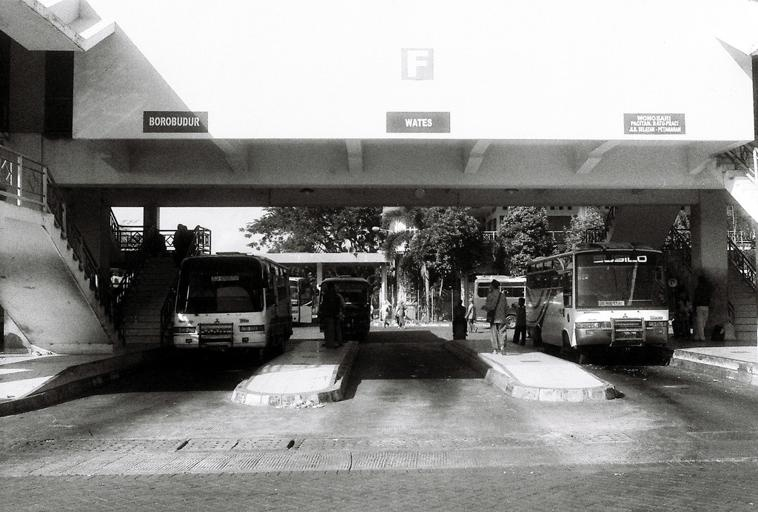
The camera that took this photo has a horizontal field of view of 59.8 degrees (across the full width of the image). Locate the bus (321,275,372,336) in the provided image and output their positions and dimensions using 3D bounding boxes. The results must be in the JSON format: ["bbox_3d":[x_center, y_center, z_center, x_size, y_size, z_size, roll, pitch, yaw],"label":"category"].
[{"bbox_3d":[-1.350,2.561,33.503,1.754,2.124,3.251,0,-2,-1],"label":"bus"}]

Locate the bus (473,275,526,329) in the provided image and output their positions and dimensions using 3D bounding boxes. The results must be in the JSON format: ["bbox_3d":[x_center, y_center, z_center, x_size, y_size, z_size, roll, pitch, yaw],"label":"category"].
[{"bbox_3d":[9.207,3.086,45.888,4.978,3.630,3.384,-1,-2,3],"label":"bus"}]

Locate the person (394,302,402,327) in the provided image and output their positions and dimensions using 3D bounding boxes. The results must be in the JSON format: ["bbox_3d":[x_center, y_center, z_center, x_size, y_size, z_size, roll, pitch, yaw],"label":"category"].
[{"bbox_3d":[1.504,3.982,45.692,0.484,1.700,0.950,0,4,8],"label":"person"}]

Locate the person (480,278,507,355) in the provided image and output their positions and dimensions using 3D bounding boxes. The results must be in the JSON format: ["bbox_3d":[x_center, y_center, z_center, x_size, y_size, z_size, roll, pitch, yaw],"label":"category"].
[{"bbox_3d":[3.929,1.989,21.963,0.752,2.410,0.858,-2,3,0],"label":"person"}]

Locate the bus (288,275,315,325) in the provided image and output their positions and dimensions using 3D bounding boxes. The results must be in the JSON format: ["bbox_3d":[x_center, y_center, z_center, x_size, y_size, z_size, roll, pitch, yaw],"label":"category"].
[{"bbox_3d":[-5.555,3.295,48.797,1.342,3.776,5.605,0,3,1],"label":"bus"}]

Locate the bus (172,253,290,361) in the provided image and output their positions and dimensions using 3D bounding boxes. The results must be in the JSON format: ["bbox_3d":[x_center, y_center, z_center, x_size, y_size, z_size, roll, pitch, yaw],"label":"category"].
[{"bbox_3d":[-5.234,2.211,25.414,2.480,2.801,5.825,-1,-13,0],"label":"bus"}]
